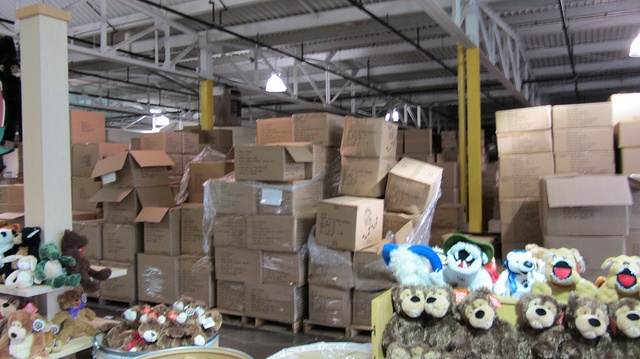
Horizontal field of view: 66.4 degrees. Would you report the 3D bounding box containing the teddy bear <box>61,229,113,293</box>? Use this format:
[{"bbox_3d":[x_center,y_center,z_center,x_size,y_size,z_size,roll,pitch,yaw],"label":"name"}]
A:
[{"bbox_3d":[-2.407,0.804,4.988,0.512,0.562,0.405,1,-10,2],"label":"teddy bear"}]

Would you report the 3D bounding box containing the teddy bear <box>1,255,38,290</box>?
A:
[{"bbox_3d":[-2.867,0.898,4.732,0.268,0.355,0.318,1,-13,12],"label":"teddy bear"}]

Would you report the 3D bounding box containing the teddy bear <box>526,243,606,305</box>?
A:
[{"bbox_3d":[2.296,0.947,4.660,0.594,0.690,0.487,-8,-25,38],"label":"teddy bear"}]

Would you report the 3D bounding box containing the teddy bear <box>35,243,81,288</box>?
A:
[{"bbox_3d":[-2.593,0.838,4.830,0.426,0.418,0.359,4,3,-3],"label":"teddy bear"}]

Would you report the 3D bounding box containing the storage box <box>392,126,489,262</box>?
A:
[{"bbox_3d":[2.040,0.207,8.529,1.257,1.404,2.294,0,8,14],"label":"storage box"}]

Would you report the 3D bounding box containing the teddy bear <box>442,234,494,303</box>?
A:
[{"bbox_3d":[1.391,0.826,4.657,0.563,0.563,0.339,7,-5,42],"label":"teddy bear"}]

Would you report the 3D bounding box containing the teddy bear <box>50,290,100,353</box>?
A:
[{"bbox_3d":[-2.487,1.356,4.912,0.306,0.478,0.535,3,-1,17],"label":"teddy bear"}]
